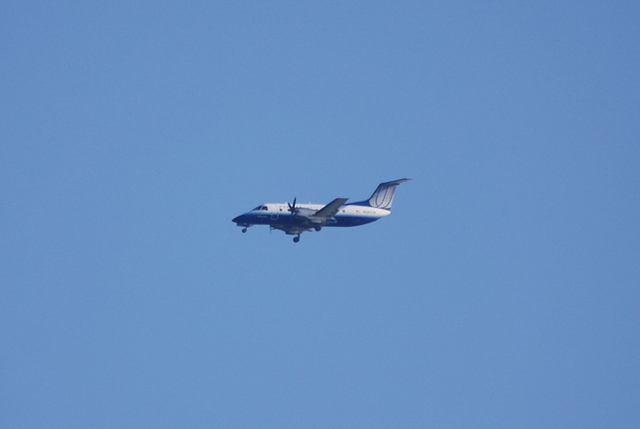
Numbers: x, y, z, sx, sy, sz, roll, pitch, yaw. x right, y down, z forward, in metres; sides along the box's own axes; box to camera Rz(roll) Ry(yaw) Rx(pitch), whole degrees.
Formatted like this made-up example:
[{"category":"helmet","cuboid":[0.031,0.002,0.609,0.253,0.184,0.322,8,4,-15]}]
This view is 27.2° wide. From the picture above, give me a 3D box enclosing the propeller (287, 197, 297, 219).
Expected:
[{"category":"propeller","cuboid":[-2.812,-0.103,129.522,0.262,1.788,1.622,13,-25,-23]}]
